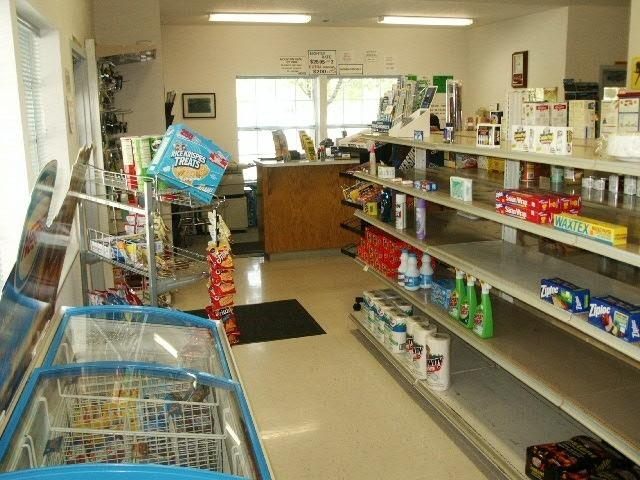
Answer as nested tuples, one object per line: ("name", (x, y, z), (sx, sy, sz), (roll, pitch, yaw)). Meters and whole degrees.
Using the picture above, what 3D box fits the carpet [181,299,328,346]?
("carpet", (-0.794, 0.860, 5.014), (1.429, 0.011, 1.260), (-6, 11, -19))

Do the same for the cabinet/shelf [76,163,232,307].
("cabinet/shelf", (-1.390, 0.025, 3.488), (0.808, 0.749, 0.298), (-5, -11, -2))

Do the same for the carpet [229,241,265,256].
("carpet", (-1.170, 0.093, 7.503), (0.491, 0.117, 0.804), (-5, 15, -11))
